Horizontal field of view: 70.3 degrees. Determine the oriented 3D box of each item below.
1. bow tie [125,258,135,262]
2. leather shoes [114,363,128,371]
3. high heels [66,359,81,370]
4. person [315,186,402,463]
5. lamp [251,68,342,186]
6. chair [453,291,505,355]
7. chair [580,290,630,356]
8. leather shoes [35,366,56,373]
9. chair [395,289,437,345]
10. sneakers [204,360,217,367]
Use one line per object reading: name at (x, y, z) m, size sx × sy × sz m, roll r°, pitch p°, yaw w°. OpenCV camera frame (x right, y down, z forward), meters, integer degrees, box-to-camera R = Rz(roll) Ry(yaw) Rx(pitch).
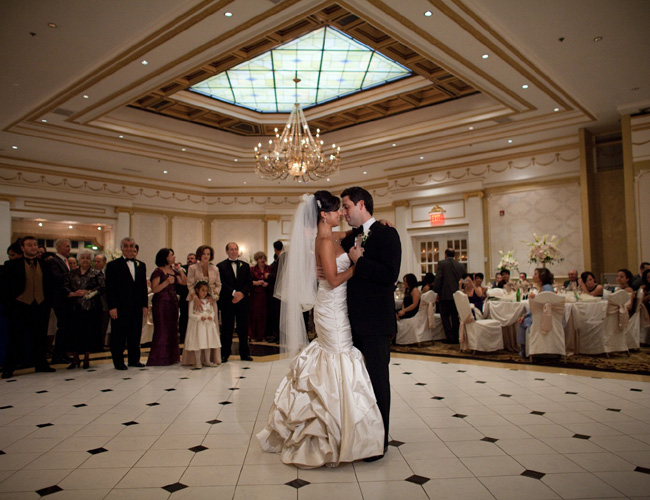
bow tie at (-2.999, 0.154, 7.144) m, size 0.086 × 0.063 × 0.203 m, roll -3°, pitch -4°, yaw 18°
leather shoes at (-3.139, 1.757, 7.085) m, size 0.188 × 0.117 × 0.235 m, roll 0°, pitch -4°, yaw -25°
high heels at (-3.936, 1.785, 7.242) m, size 0.117 × 0.139 × 0.213 m, roll -11°, pitch -19°, yaw 28°
person at (0.429, 0.629, 4.238) m, size 0.528 × 2.429 × 0.494 m, roll -1°, pitch -3°, yaw 2°
lamp at (-0.670, -2.801, 10.350) m, size 1.579 × 2.315 × 1.594 m, roll 19°, pitch 14°, yaw 27°
chair at (2.693, 1.237, 8.141) m, size 0.728 × 0.960 × 0.639 m, roll 1°, pitch -4°, yaw -20°
chair at (4.566, 1.187, 7.661) m, size 0.748 × 1.042 × 0.823 m, roll 3°, pitch -6°, yaw 22°
leather shoes at (-4.189, 1.777, 6.913) m, size 0.262 × 0.087 × 0.279 m, roll 1°, pitch -4°, yaw -33°
chair at (1.805, 1.325, 9.153) m, size 0.785 × 1.065 × 0.747 m, roll -6°, pitch -11°, yaw 38°
sneakers at (-1.784, 1.783, 7.261) m, size 0.232 × 0.100 × 0.076 m, roll -4°, pitch 4°, yaw -8°
